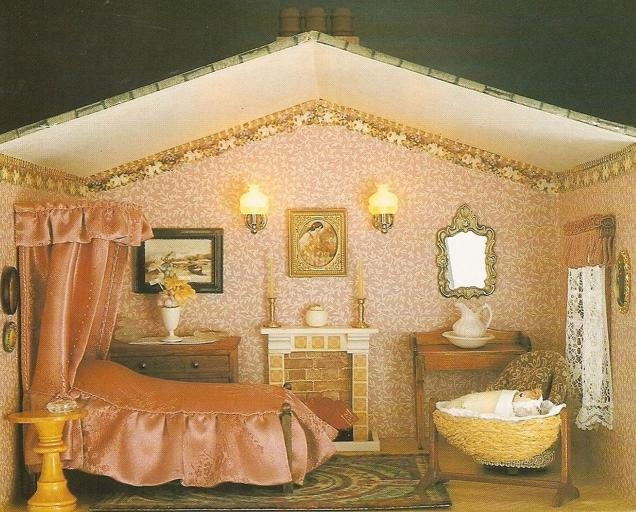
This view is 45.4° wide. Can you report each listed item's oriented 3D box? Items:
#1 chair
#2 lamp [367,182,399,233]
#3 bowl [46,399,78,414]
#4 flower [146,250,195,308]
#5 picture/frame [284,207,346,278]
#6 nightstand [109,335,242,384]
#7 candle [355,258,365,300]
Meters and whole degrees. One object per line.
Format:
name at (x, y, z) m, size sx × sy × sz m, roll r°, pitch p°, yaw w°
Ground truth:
chair at (1.996, 1.295, 6.954) m, size 0.955 × 0.947 × 1.265 m, roll -3°, pitch -3°, yaw 42°
lamp at (0.672, -0.489, 7.842) m, size 0.317 × 0.509 × 0.290 m, roll 1°, pitch 7°, yaw 5°
bowl at (-2.020, 1.177, 5.989) m, size 0.213 × 0.087 × 0.122 m, roll -1°, pitch 6°, yaw -13°
flower at (-1.508, 0.230, 7.705) m, size 0.606 × 0.525 × 0.240 m, roll -13°, pitch -28°, yaw -14°
picture/frame at (-0.011, -0.156, 7.939) m, size 1.007 × 0.826 × 0.073 m, roll 0°, pitch 0°, yaw -1°
nightstand at (-1.329, 0.982, 7.224) m, size 1.003 × 0.453 × 0.481 m, roll -1°, pitch 0°, yaw -1°
candle at (0.434, 0.240, 7.872) m, size 0.099 × 0.382 × 0.201 m, roll 0°, pitch 7°, yaw 2°
